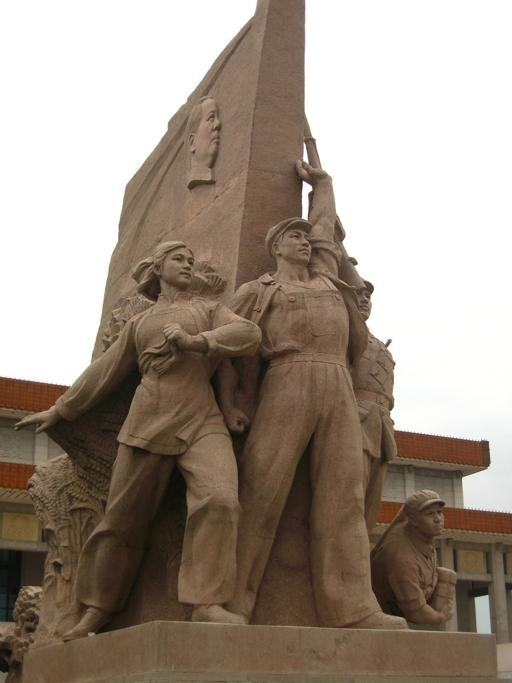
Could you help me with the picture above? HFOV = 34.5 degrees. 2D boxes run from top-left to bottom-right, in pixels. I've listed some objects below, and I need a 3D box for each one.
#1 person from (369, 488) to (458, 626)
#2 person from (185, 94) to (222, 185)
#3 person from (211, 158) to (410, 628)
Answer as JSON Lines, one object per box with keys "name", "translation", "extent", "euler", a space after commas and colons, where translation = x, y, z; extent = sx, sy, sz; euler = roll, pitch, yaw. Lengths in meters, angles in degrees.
{"name": "person", "translation": [1.198, 1.689, 6.269], "extent": [0.836, 1.204, 0.851], "euler": [-3, -23, 12]}
{"name": "person", "translation": [-0.443, -1.688, 6.921], "extent": [0.243, 0.803, 0.718], "euler": [10, -1, -9]}
{"name": "person", "translation": [0.366, 0.220, 5.433], "extent": [0.978, 3.276, 0.742], "euler": [1, -23, 0]}
